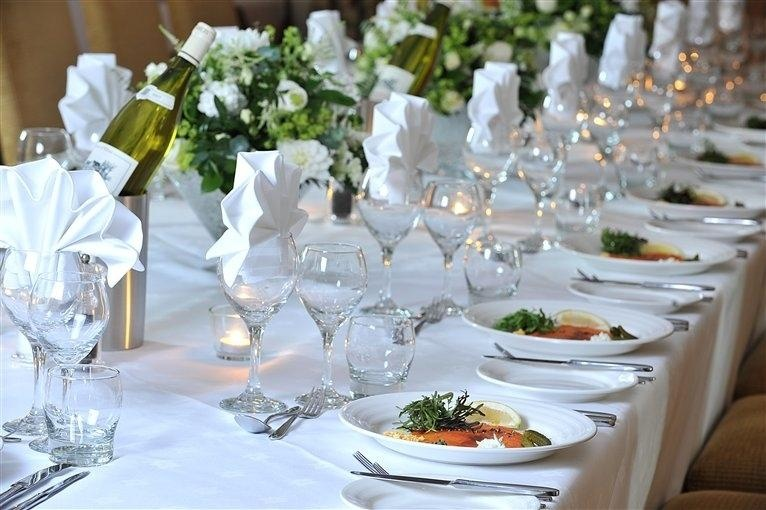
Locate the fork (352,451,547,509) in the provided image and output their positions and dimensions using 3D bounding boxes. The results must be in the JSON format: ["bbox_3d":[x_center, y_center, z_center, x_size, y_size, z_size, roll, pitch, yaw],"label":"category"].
[{"bbox_3d":[0.090,0.302,1.003,0.230,0.035,0.027,7,20,11],"label":"fork"}]

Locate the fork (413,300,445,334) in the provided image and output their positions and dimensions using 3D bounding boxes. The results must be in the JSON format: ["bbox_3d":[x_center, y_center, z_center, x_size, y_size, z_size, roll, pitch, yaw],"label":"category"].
[{"bbox_3d":[0.097,0.132,1.585,0.032,0.024,0.120,21,17,16],"label":"fork"}]

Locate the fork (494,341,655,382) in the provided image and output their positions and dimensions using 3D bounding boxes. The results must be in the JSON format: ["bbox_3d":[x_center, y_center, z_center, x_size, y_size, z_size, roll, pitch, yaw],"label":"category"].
[{"bbox_3d":[0.332,0.189,1.322,0.228,0.027,0.037,6,20,14],"label":"fork"}]

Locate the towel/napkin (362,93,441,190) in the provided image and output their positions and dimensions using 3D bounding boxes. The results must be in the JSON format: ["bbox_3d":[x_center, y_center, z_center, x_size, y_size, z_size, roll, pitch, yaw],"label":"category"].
[{"bbox_3d":[0.033,-0.242,1.593,0.169,0.211,0.089,-1,-20,-20],"label":"towel/napkin"}]

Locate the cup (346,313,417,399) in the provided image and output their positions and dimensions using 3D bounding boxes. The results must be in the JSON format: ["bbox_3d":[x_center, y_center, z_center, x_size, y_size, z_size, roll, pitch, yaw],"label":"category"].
[{"bbox_3d":[-0.006,0.160,1.215,0.125,0.142,0.125,1,0,0],"label":"cup"}]

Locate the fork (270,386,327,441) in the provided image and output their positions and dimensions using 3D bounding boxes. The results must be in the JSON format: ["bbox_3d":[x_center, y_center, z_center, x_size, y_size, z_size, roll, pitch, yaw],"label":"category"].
[{"bbox_3d":[-0.125,0.239,1.167,0.029,0.022,0.146,3,26,26],"label":"fork"}]

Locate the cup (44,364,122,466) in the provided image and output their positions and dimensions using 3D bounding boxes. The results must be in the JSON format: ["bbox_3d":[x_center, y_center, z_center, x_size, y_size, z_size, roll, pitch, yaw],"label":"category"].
[{"bbox_3d":[-0.395,0.219,1.076,0.123,0.146,0.126,3,1,0],"label":"cup"}]

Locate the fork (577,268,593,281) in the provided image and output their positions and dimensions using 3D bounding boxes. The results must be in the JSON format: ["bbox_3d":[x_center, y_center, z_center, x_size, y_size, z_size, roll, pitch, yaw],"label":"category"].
[{"bbox_3d":[0.475,0.050,1.772,0.034,0.013,0.025,32,-6,-14],"label":"fork"}]

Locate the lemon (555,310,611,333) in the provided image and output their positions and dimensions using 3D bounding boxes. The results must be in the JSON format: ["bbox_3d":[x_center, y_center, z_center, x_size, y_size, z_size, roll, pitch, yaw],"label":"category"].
[{"bbox_3d":[0.373,0.122,1.421,0.102,0.021,0.059,6,15,12],"label":"lemon"}]

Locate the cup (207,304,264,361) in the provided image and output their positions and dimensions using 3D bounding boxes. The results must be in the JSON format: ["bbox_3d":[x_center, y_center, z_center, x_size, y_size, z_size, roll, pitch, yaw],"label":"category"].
[{"bbox_3d":[-0.270,0.140,1.391,0.087,0.084,0.100,5,6,44],"label":"cup"}]

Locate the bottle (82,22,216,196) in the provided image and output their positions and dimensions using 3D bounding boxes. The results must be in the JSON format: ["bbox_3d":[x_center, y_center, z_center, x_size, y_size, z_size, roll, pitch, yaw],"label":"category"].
[{"bbox_3d":[-0.420,-0.252,1.336,0.210,0.307,0.245,-3,16,-21],"label":"bottle"}]

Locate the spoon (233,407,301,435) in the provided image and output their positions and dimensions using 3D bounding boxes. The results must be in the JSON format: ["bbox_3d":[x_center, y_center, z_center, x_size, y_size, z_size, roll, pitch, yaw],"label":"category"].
[{"bbox_3d":[-0.181,0.248,1.128,0.032,0.021,0.106,8,4,29],"label":"spoon"}]

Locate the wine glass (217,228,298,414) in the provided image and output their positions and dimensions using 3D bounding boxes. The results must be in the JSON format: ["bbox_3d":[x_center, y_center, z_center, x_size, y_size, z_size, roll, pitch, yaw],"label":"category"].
[{"bbox_3d":[-0.193,0.099,1.191,0.118,0.271,0.162,7,16,15],"label":"wine glass"}]

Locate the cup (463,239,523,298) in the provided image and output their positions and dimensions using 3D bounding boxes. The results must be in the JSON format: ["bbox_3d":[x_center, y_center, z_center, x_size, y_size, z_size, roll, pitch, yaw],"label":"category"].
[{"bbox_3d":[0.230,0.031,1.653,0.124,0.119,0.125,-1,-1,0],"label":"cup"}]
